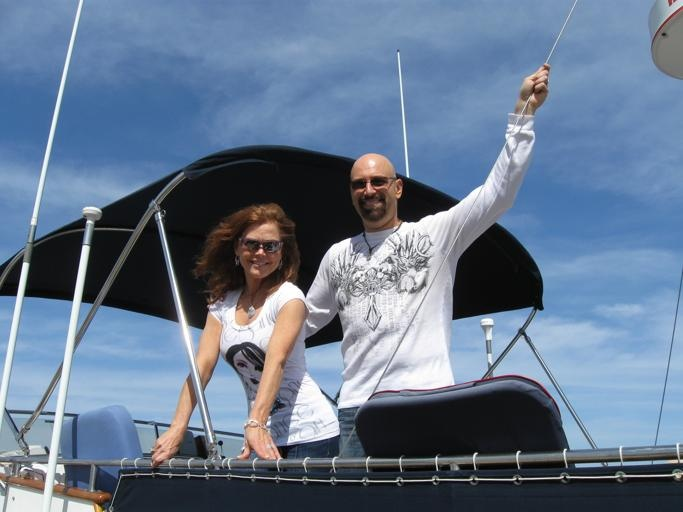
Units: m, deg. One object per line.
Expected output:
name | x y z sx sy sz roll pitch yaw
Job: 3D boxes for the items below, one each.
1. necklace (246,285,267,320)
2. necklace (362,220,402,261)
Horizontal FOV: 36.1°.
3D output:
necklace | -0.624 0.347 7.353 0.139 0.259 0.052 3 -26 12
necklace | 0.266 -0.087 7.324 0.294 0.100 0.225 -5 -16 -21
